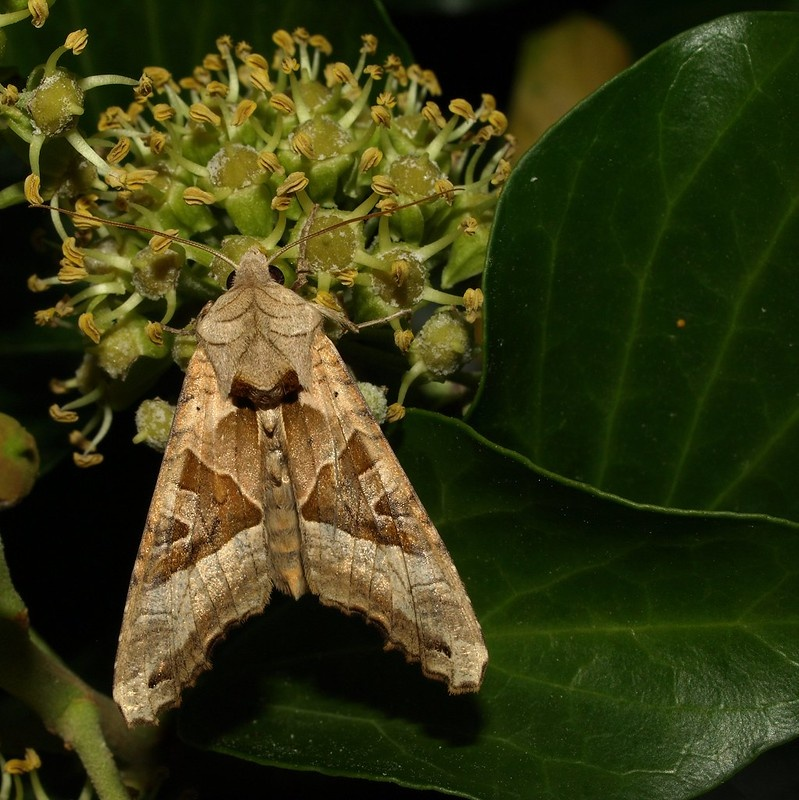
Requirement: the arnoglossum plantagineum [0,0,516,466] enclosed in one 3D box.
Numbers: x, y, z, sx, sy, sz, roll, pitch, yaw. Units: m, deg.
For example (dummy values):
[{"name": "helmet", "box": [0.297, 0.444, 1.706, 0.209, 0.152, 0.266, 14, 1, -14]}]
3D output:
[{"name": "arnoglossum plantagineum", "box": [-0.226, -0.261, 1.936, 0.954, 0.774, 0.272, 5, -3, -1]}]
